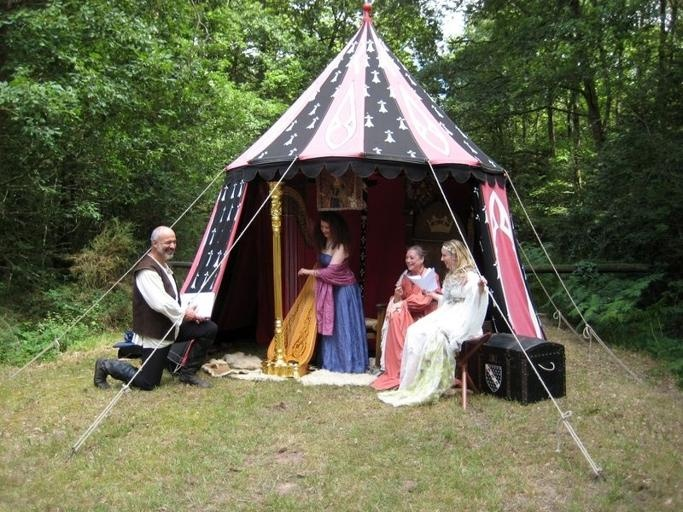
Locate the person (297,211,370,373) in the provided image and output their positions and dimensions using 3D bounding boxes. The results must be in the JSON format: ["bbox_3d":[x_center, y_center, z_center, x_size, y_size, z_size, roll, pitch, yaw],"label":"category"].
[{"bbox_3d":[-0.026,0.478,8.150,0.845,2.018,0.293,4,-1,1],"label":"person"}]

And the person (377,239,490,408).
[{"bbox_3d":[1.140,0.764,7.283,1.114,1.789,0.651,4,-1,-6],"label":"person"}]

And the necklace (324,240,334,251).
[{"bbox_3d":[-0.164,-0.124,8.153,0.080,0.121,0.034,5,-2,27],"label":"necklace"}]

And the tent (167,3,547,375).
[{"bbox_3d":[0.063,-0.804,9.873,4.587,4.054,4.784,0,0,-4],"label":"tent"}]

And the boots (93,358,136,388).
[{"bbox_3d":[-2.680,1.332,7.389,0.583,0.298,0.370,-5,-2,8],"label":"boots"}]

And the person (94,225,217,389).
[{"bbox_3d":[-2.095,0.646,7.282,1.259,1.970,0.804,5,-1,-23],"label":"person"}]
